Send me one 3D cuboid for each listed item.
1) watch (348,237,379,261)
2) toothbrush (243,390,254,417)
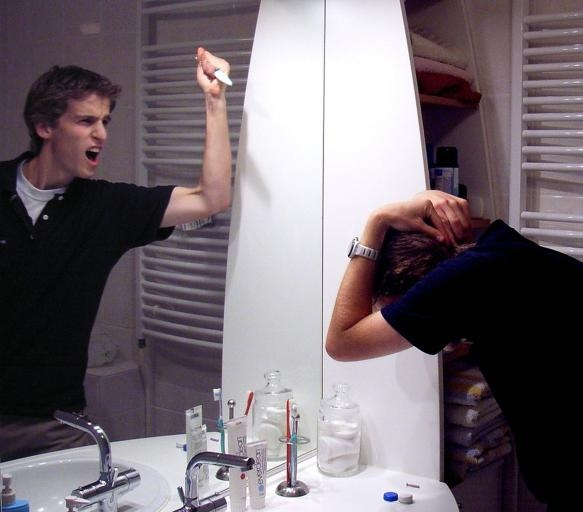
[{"bbox_3d":[0.162,-0.014,1.211,0.067,0.041,0.067,17,3,-12],"label":"watch"},{"bbox_3d":[-0.108,0.374,1.305,0.014,0.062,0.005,17,-21,-20],"label":"toothbrush"}]
